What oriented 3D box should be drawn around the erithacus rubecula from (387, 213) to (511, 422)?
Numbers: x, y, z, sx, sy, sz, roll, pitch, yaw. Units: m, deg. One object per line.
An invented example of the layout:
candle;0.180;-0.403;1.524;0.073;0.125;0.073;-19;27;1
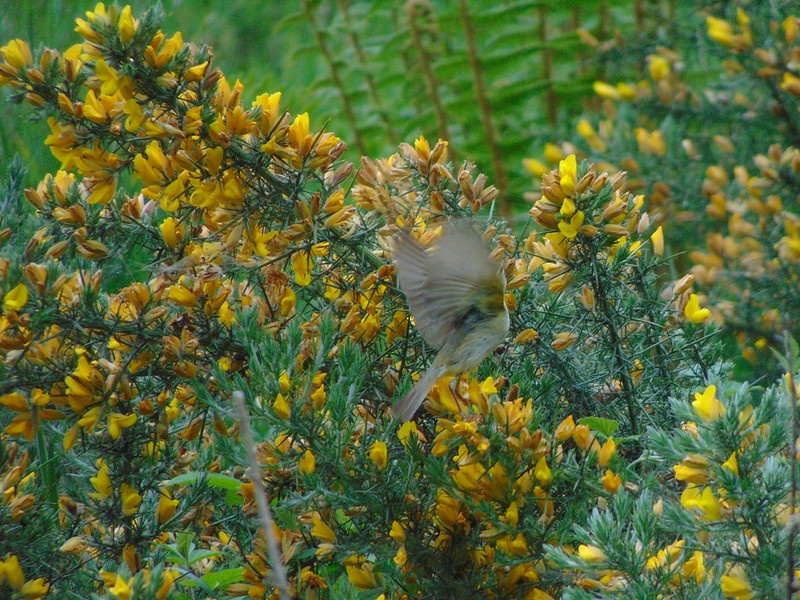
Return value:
erithacus rubecula;0.105;0.046;3.050;0.198;0.238;0.319;45;-2;20
